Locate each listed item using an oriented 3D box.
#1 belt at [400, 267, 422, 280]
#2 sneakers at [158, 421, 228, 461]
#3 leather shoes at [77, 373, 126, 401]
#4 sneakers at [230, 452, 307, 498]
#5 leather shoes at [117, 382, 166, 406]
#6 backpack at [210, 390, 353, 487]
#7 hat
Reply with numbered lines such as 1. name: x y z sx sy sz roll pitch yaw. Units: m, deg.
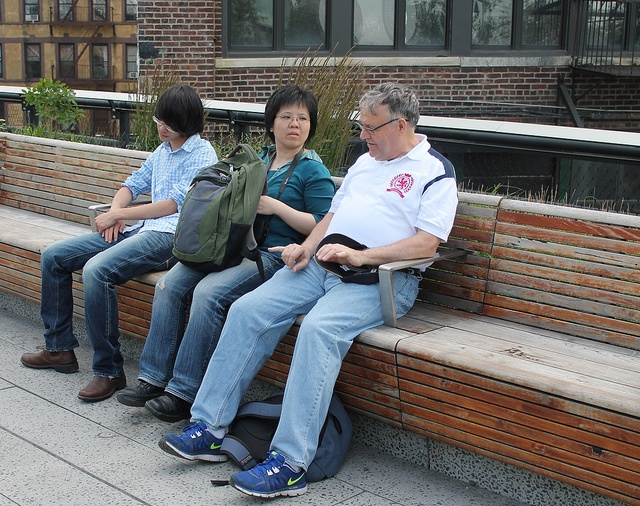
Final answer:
1. belt: 0.430 0.102 2.544 0.113 0.050 0.103 -2 -10 6
2. sneakers: -0.537 0.815 2.345 0.354 0.167 0.123 17 4 -38
3. leather shoes: -1.200 0.735 2.952 0.096 0.105 0.259 8 10 38
4. sneakers: -0.189 0.874 2.131 0.339 0.146 0.132 8 -3 -28
5. leather shoes: -0.902 0.704 2.683 0.095 0.111 0.266 16 3 44
6. backpack: -0.149 0.788 2.272 0.483 0.270 0.338 -21 42 -23
7. hat: 0.151 0.044 2.493 0.288 0.194 0.112 32 26 1
